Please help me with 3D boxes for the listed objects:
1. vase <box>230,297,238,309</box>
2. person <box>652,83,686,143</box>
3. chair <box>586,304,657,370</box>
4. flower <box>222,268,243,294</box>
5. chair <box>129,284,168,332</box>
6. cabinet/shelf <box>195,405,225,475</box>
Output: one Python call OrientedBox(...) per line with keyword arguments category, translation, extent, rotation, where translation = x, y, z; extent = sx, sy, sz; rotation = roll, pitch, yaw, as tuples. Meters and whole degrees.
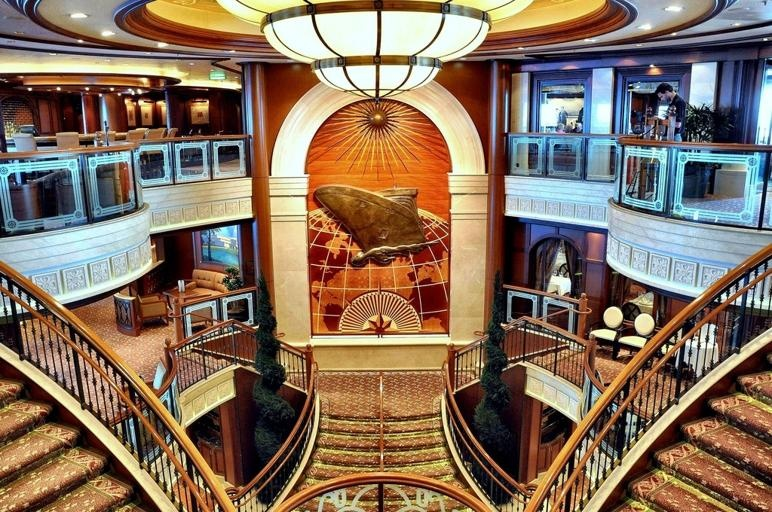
OrientedBox(category="vase", translation=(-3.790, 1.208, 12.917), extent=(0.161, 0.246, 0.314), rotation=(-2, 15, -9))
OrientedBox(category="person", translation=(4.844, -2.461, 8.721), extent=(0.470, 0.952, 0.966), rotation=(8, 16, 26))
OrientedBox(category="chair", translation=(5.257, 1.624, 11.338), extent=(1.157, 1.079, 1.152), rotation=(7, 16, 23))
OrientedBox(category="flower", translation=(-4.255, 0.689, 14.194), extent=(0.445, 0.601, 0.429), rotation=(-13, 41, -19))
OrientedBox(category="chair", translation=(-5.703, 1.383, 12.536), extent=(0.714, 0.751, 0.716), rotation=(-6, 16, -23))
OrientedBox(category="cabinet/shelf", translation=(-4.261, 4.389, 12.308), extent=(1.269, 1.496, 0.432), rotation=(12, 19, 38))
